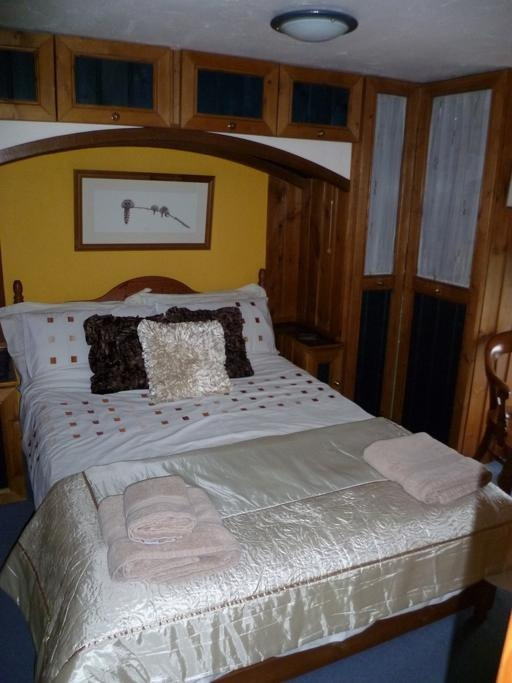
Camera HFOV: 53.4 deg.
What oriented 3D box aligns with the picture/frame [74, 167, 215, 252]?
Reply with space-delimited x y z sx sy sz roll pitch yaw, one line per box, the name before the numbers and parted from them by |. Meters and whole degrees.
picture/frame | -0.767 -0.883 3.339 0.646 0.361 0.017 -5 21 -26
